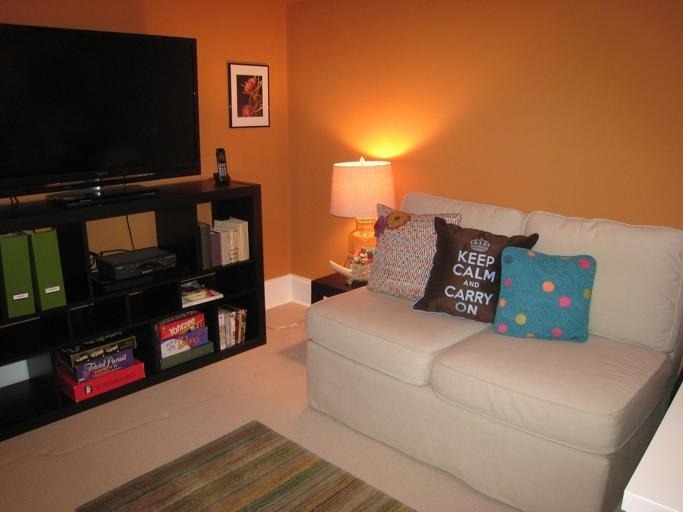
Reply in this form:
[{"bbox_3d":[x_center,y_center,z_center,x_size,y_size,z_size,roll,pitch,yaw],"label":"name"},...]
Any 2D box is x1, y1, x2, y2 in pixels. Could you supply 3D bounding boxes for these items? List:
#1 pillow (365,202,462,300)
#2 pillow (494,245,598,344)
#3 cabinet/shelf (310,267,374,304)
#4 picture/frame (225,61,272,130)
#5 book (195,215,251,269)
[{"bbox_3d":[0.434,-0.023,2.940,0.503,0.518,0.194,10,-3,45],"label":"pillow"},{"bbox_3d":[1.007,0.171,2.503,0.454,0.442,0.140,4,2,12],"label":"pillow"},{"bbox_3d":[-0.030,0.197,3.520,0.239,0.239,0.237,13,20,44],"label":"cabinet/shelf"},{"bbox_3d":[-0.724,-1.239,3.897,0.491,0.579,0.024,-16,25,-41],"label":"picture/frame"},{"bbox_3d":[-0.774,-0.087,3.425,0.291,0.405,0.414,-12,20,-38],"label":"book"}]
